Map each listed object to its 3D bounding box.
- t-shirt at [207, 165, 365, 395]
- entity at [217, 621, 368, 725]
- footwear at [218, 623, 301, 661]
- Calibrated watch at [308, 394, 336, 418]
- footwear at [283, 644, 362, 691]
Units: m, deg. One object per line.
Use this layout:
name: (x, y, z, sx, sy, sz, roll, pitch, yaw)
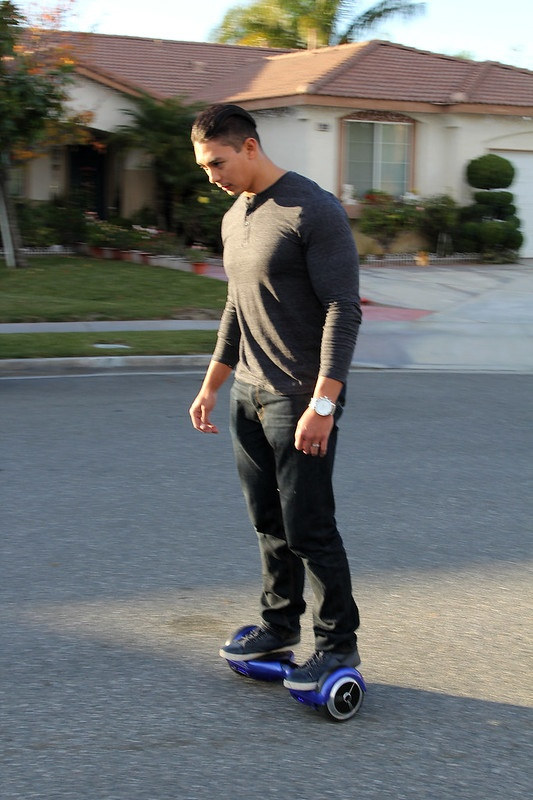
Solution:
t-shirt: (0.072, -0.352, 2.625, 0.208, 0.665, 0.551, -6, 12, -34)
entity: (0.182, 0.805, 2.692, 0.174, 0.117, 0.496, 0, 6, -32)
footwear: (-0.030, 0.822, 2.977, 0.348, 0.120, 0.104, 1, 10, -3)
Calibrated watch: (0.161, 0.017, 2.442, 0.071, 0.047, 0.060, 5, 2, 8)
footwear: (0.163, 0.821, 2.707, 0.275, 0.101, 0.093, -17, -13, -19)
